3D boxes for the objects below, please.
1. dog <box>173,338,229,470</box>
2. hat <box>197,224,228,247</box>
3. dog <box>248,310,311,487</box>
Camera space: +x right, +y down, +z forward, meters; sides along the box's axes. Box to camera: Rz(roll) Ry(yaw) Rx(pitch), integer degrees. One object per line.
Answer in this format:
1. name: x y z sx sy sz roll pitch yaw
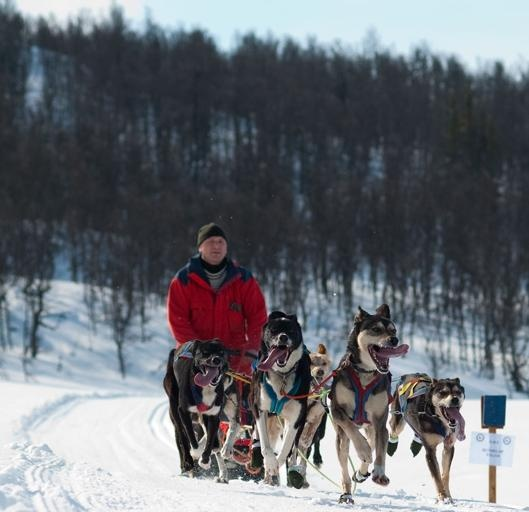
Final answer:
1. dog: -0.892 2.017 14.504 0.733 1.655 0.658 2 -1 3
2. hat: -0.785 -0.351 15.286 0.310 0.309 0.344 -8 6 8
3. dog: 0.232 1.840 14.179 0.762 2.090 0.639 2 -1 1
